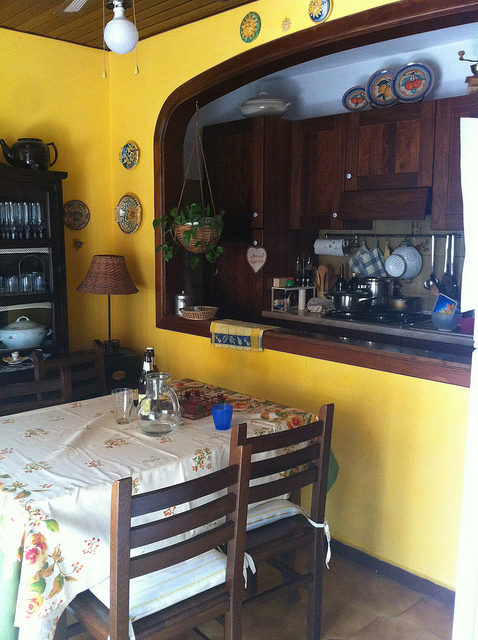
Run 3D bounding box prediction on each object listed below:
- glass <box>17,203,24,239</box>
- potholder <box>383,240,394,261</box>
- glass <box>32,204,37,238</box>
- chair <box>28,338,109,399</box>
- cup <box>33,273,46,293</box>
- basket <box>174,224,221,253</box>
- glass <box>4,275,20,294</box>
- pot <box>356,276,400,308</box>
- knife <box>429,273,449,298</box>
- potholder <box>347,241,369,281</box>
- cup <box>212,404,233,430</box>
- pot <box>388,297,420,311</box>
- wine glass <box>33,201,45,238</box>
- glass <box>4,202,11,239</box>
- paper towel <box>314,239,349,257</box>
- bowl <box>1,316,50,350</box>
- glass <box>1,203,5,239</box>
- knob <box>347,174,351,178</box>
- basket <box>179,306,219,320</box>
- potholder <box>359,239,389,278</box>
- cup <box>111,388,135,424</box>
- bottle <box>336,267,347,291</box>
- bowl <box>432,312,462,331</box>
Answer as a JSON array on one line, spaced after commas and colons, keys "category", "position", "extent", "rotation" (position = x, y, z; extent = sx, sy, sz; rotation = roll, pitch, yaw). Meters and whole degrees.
[{"category": "glass", "position": [-1.250, -0.567, 2.832], "extent": [0.036, 0.192, 0.027], "rotation": [-3, 5, -45]}, {"category": "potholder", "position": [0.987, -0.468, 3.282], "extent": [0.049, 0.123, 0.104], "rotation": [1, 4, 3]}, {"category": "glass", "position": [-1.199, -0.580, 2.902], "extent": [0.019, 0.180, 0.039], "rotation": [0, 4, -3]}, {"category": "chair", "position": [-0.844, 0.243, 2.424], "extent": [0.250, 0.459, 0.246], "rotation": [-9, 20, -33]}, {"category": "cup", "position": [-1.194, -0.221, 2.970], "extent": [0.062, 0.110, 0.103], "rotation": [2, 13, -8]}, {"category": "basket", "position": [-0.223, -0.423, 2.650], "extent": [0.159, 0.116, 0.162], "rotation": [6, 19, 8]}, {"category": "glass", "position": [-1.298, -0.201, 2.837], "extent": [0.060, 0.094, 0.096], "rotation": [-1, 6, -22]}, {"category": "pot", "position": [0.878, -0.185, 3.122], "extent": [0.214, 0.236, 0.238], "rotation": [4, 6, 37]}, {"category": "knife", "position": [1.170, -0.206, 2.910], "extent": [0.038, 0.156, 0.090], "rotation": [-34, -4, 23]}, {"category": "potholder", "position": [0.823, -0.418, 3.424], "extent": [0.040, 0.291, 0.158], "rotation": [-15, 48, -33]}, {"category": "cup", "position": [-0.059, 0.307, 1.608], "extent": [0.071, 0.067, 0.067], "rotation": [1, 11, 0]}, {"category": "pot", "position": [0.983, -0.096, 3.006], "extent": [0.154, 0.078, 0.134], "rotation": [2, 4, 17]}, {"category": "wine glass", "position": [-1.178, -0.590, 2.922], "extent": [0.074, 0.199, 0.030], "rotation": [-3, 5, -42]}, {"category": "glass", "position": [-1.295, -0.557, 2.777], "extent": [0.039, 0.191, 0.032], "rotation": [-3, 5, -40]}, {"category": "paper towel", "position": [0.624, -0.506, 3.445], "extent": [0.243, 0.118, 0.122], "rotation": [2, 4, 21]}, {"category": "bowl", "position": [-1.237, 0.080, 2.886], "extent": [0.231, 0.145, 0.171], "rotation": [-6, 17, -32]}, {"category": "glass", "position": [-1.314, -0.546, 2.757], "extent": [0.016, 0.181, 0.035], "rotation": [-1, 4, -22]}, {"category": "knob", "position": [0.683, -0.897, 3.099], "extent": [0.019, 0.019, 0.019], "rotation": [4, 2, -39]}, {"category": "basket", "position": [-0.259, -0.041, 3.069], "extent": [0.225, 0.074, 0.152], "rotation": [0, 3, -6]}, {"category": "potholder", "position": [0.913, -0.418, 3.366], "extent": [0.220, 0.249, 0.036], "rotation": [4, 5, 43]}, {"category": "cup", "position": [-0.393, 0.295, 1.679], "extent": [0.069, 0.109, 0.092], "rotation": [14, 18, 41]}, {"category": "bottle", "position": [0.704, -0.285, 3.440], "extent": [0.065, 0.157, 0.075], "rotation": [1, 4, 11]}, {"category": "bowl", "position": [1.015, 0.009, 2.448], "extent": [0.093, 0.063, 0.093], "rotation": [6, 2, 0]}]
